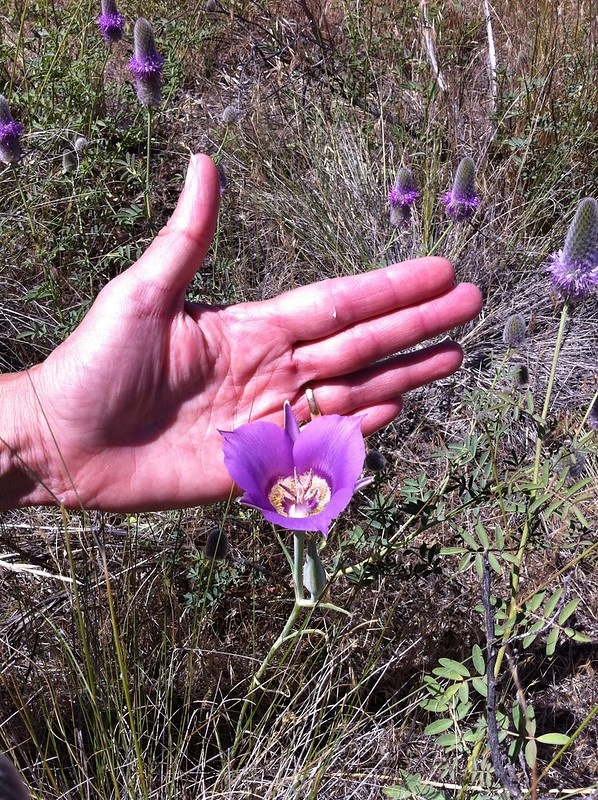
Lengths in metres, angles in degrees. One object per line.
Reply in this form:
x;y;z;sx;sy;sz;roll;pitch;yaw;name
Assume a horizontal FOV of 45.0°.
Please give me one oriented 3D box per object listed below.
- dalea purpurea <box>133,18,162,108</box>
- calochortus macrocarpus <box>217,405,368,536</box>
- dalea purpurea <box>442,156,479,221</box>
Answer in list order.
-0.646;-1.414;3.135;0.125;0.423;0.116;-19;31;-37;dalea purpurea
-0.026;0.223;1.709;0.332;0.259;0.443;9;35;9;calochortus macrocarpus
0.735;-0.939;3.238;0.138;0.307;0.165;10;34;12;dalea purpurea
